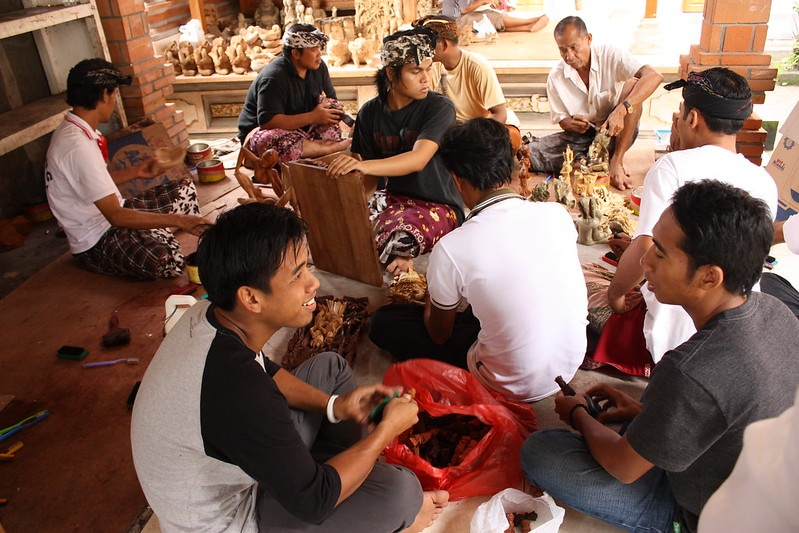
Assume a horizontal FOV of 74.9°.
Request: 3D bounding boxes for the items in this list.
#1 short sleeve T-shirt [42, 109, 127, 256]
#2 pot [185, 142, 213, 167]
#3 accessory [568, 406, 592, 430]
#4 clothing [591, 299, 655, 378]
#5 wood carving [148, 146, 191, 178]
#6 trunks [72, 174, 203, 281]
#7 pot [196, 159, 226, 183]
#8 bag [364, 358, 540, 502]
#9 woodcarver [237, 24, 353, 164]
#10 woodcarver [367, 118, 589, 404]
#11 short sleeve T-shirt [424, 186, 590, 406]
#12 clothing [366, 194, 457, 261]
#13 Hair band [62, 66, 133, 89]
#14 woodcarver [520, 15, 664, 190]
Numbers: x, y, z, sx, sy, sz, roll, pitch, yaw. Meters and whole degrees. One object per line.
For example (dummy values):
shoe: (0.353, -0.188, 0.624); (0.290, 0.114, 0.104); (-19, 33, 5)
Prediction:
short sleeve T-shirt: (-2.567, -0.642, 4.259); (0.541, 0.958, 1.076); (-11, 42, -20)
pot: (-2.358, -1.345, 6.200); (0.301, 0.215, 0.295); (0, 29, 0)
accessory: (0.883, 0.761, 2.553); (0.101, 0.069, 0.132); (3, 18, 2)
clothing: (1.383, 0.451, 3.205); (0.385, 0.397, 0.334); (26, 20, 37)
wood carving: (-2.064, -0.929, 4.693); (0.315, 0.413, 0.149); (9, 27, -10)
trunks: (-2.121, -0.210, 4.350); (0.904, 0.384, 1.152); (5, 46, -13)
pot: (-2.051, -1.044, 5.762); (0.264, 0.184, 0.261); (-2, 36, 1)
bag: (0.497, 0.833, 3.153); (0.849, 0.443, 1.087); (-6, -8, 0)
woodcarver: (-1.027, -1.786, 5.419); (1.189, 1.292, 1.120); (-15, 43, -28)
woodcarver: (0.485, -0.081, 3.173); (1.411, 1.470, 1.218); (-10, 22, -5)
short sleeve T-shirt: (0.616, 0.139, 3.177); (0.894, 1.151, 1.100); (-12, 24, -1)
clothing: (0.112, -0.331, 4.145); (0.580, 0.237, 0.598); (-18, 55, -5)
Hair band: (-2.289, -1.431, 3.989); (0.322, 0.114, 0.244); (-4, 12, -15)
woodcarver: (1.941, -1.678, 5.321); (1.355, 1.586, 1.030); (14, 43, 44)
